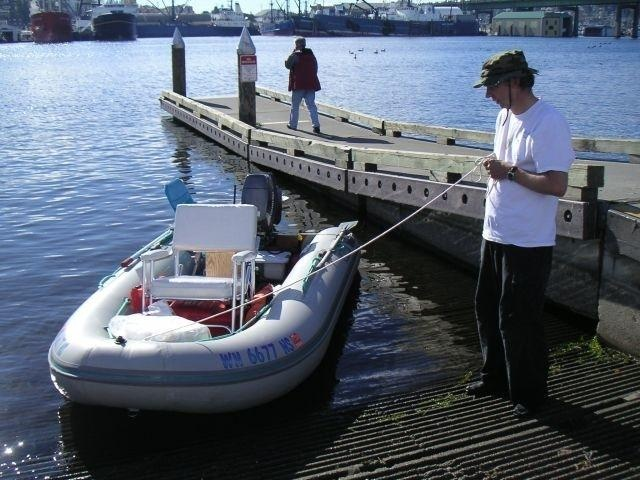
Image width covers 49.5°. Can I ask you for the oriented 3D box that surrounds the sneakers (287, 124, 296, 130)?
[{"bbox_3d":[-0.536,-2.097,12.851,0.075,0.081,0.210,-14,29,-28],"label":"sneakers"}]

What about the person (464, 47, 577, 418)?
[{"bbox_3d":[1.380,-0.005,4.873,0.658,2.572,0.428,8,17,25],"label":"person"}]

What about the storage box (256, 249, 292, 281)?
[{"bbox_3d":[-0.450,0.245,6.823,0.285,0.127,0.316,2,9,2],"label":"storage box"}]

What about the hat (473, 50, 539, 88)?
[{"bbox_3d":[1.257,-1.149,4.644,0.393,0.241,0.308,3,14,13],"label":"hat"}]

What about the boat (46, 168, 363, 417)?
[{"bbox_3d":[-0.796,0.442,6.036,1.886,1.003,2.719,4,23,10],"label":"boat"}]

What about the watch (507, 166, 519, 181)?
[{"bbox_3d":[1.283,-0.446,4.620,0.069,0.092,0.097,23,10,35],"label":"watch"}]

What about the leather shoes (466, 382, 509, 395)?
[{"bbox_3d":[1.287,1.152,5.356,0.342,0.109,0.104,-3,2,12],"label":"leather shoes"}]
